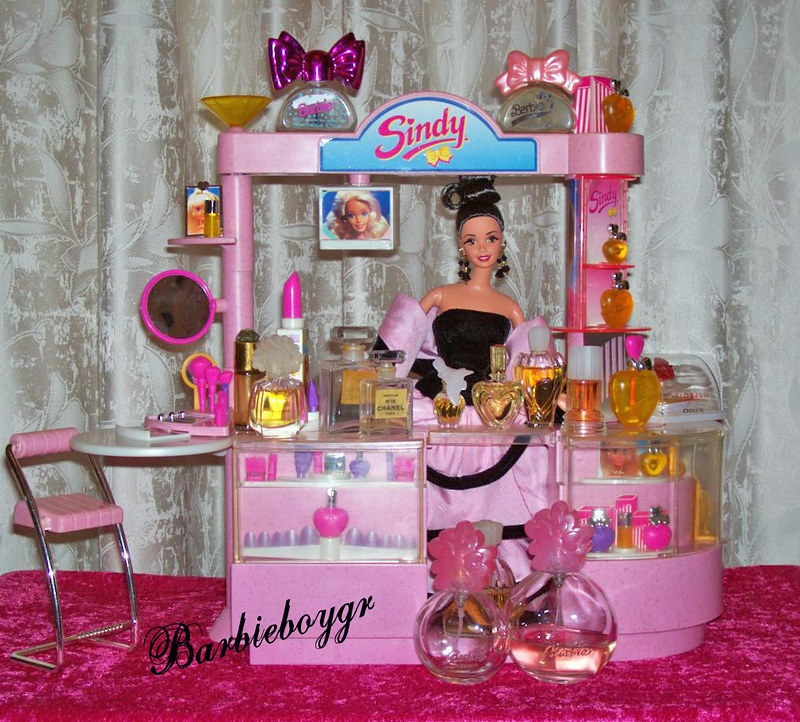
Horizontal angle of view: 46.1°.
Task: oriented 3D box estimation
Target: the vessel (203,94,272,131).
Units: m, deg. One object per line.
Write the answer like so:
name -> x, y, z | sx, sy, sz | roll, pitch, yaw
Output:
vessel -> -0.520, -0.809, 3.070 | 0.216, 0.127, 0.210 | 2, 8, 12

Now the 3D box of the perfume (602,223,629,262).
perfume -> 0.714, -0.387, 3.163 | 0.074, 0.132, 0.099 | -5, 9, -34

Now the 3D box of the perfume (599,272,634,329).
perfume -> 0.719, -0.200, 3.160 | 0.116, 0.187, 0.129 | -5, 9, -34

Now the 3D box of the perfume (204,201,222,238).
perfume -> -0.610, -0.460, 3.065 | 0.056, 0.116, 0.036 | -3, 8, -28

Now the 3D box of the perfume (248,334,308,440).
perfume -> -0.372, 0.089, 2.836 | 0.136, 0.324, 0.158 | 2, 12, 1

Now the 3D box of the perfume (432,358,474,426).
perfume -> 0.141, 0.108, 2.945 | 0.085, 0.205, 0.117 | -1, 7, 2

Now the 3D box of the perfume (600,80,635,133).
perfume -> 0.714, -0.816, 3.091 | 0.078, 0.175, 0.088 | 16, -16, -30
